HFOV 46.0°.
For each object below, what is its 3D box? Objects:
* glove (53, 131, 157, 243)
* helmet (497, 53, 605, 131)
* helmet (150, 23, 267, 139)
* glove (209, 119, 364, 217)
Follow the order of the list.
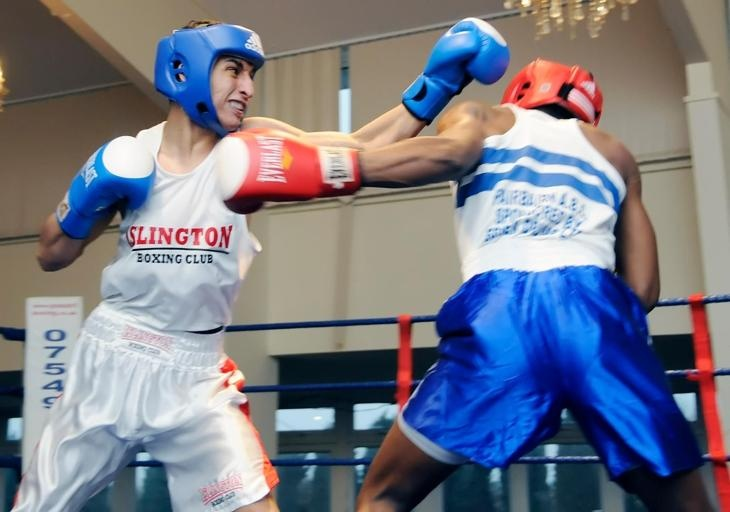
[{"bbox_3d":[-0.857,-0.218,2.826,0.328,0.311,0.117,-6,-8,29],"label":"glove"},{"bbox_3d":[0.600,-0.540,2.866,0.223,0.183,0.271,34,-27,-30],"label":"helmet"},{"bbox_3d":[-0.525,-0.584,3.025,0.403,0.375,0.309,-4,-6,21],"label":"helmet"},{"bbox_3d":[-0.235,-0.249,2.445,0.302,0.152,0.247,-1,16,-7],"label":"glove"}]
